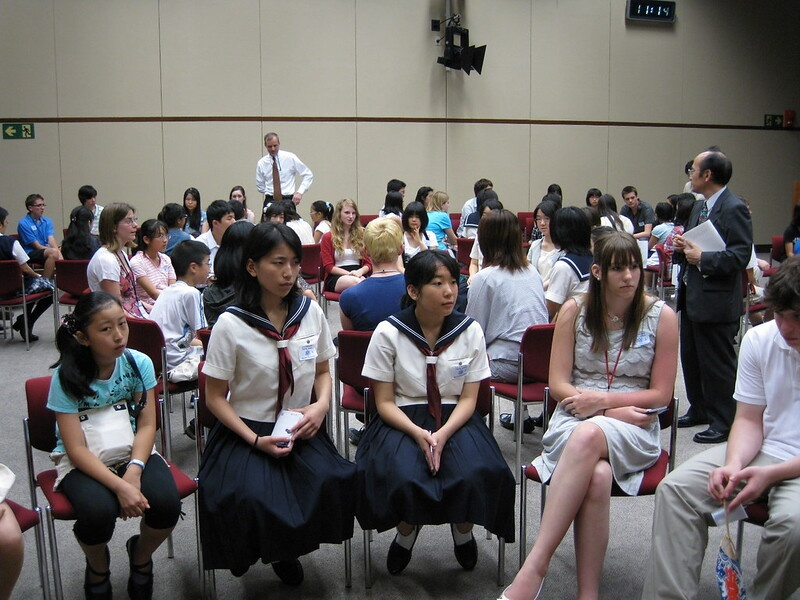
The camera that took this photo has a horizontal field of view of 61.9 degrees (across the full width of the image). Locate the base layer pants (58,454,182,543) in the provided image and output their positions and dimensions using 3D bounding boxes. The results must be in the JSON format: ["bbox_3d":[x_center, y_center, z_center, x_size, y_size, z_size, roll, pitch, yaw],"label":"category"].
[{"bbox_3d":[-1.208,0.873,2.856,0.479,0.309,0.291,-4,8,-31],"label":"base layer pants"}]

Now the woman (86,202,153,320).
[{"bbox_3d":[-2.126,-0.293,5.266,0.565,0.950,0.528,3,12,2],"label":"woman"}]

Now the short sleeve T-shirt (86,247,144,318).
[{"bbox_3d":[-2.190,-0.136,5.239,0.388,0.569,0.441,7,16,-13],"label":"short sleeve T-shirt"}]

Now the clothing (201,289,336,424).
[{"bbox_3d":[-0.605,0.255,3.142,0.587,0.596,0.331,-6,10,-30],"label":"clothing"}]

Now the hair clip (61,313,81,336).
[{"bbox_3d":[-1.425,0.121,2.879,0.071,0.112,0.034,7,-9,-8],"label":"hair clip"}]

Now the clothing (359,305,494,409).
[{"bbox_3d":[0.140,0.290,3.226,0.587,0.542,0.305,0,2,-8],"label":"clothing"}]

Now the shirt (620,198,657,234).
[{"bbox_3d":[3.659,-1.207,10.199,0.423,0.581,0.487,2,9,38],"label":"shirt"}]

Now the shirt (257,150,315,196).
[{"bbox_3d":[-1.812,-1.927,10.088,0.808,0.785,0.399,1,31,3],"label":"shirt"}]

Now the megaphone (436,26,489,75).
[{"bbox_3d":[0.987,-4.162,11.010,0.728,0.798,0.591,4,17,23],"label":"megaphone"}]

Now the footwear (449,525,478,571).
[{"bbox_3d":[0.306,1.185,3.175,0.088,0.261,0.063,-15,-4,17],"label":"footwear"}]

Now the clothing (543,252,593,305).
[{"bbox_3d":[1.150,-0.169,4.405,0.237,0.390,0.481,8,17,43],"label":"clothing"}]

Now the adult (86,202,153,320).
[{"bbox_3d":[-2.134,-0.289,5.253,0.546,0.948,0.513,1,13,-10],"label":"adult"}]

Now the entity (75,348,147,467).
[{"bbox_3d":[-1.265,0.487,2.973,0.213,0.414,0.197,-6,17,-41],"label":"entity"}]

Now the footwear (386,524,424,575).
[{"bbox_3d":[0.027,1.185,3.195,0.096,0.324,0.107,13,1,26],"label":"footwear"}]

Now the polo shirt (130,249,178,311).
[{"bbox_3d":[-1.844,-0.137,4.941,0.243,0.479,0.410,2,3,35],"label":"polo shirt"}]

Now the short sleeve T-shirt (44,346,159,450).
[{"bbox_3d":[-1.318,0.443,2.920,0.370,0.402,0.203,-7,0,-41],"label":"short sleeve T-shirt"}]

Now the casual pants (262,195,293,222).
[{"bbox_3d":[-1.335,-0.985,7.369,0.480,0.352,0.736,-2,6,-15],"label":"casual pants"}]

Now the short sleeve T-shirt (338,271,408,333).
[{"bbox_3d":[-0.183,-0.017,4.118,0.471,0.542,0.281,-1,11,-11],"label":"short sleeve T-shirt"}]

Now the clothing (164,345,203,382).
[{"bbox_3d":[-1.298,0.408,4.049,0.257,0.130,0.268,-10,2,37],"label":"clothing"}]

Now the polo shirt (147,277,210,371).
[{"bbox_3d":[-1.499,0.147,4.372,0.394,0.568,0.264,10,21,4],"label":"polo shirt"}]

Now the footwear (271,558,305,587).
[{"bbox_3d":[-0.529,1.250,3.128,0.080,0.091,0.192,-9,14,-38],"label":"footwear"}]

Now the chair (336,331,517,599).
[{"bbox_3d":[0.135,0.572,3.137,0.715,1.470,0.840,-5,8,-29],"label":"chair"}]

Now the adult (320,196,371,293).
[{"bbox_3d":[-0.499,-0.393,6.530,0.438,1.211,0.648,-1,6,-24],"label":"adult"}]

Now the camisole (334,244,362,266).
[{"bbox_3d":[-0.498,-0.498,6.516,0.259,0.283,0.157,1,8,-7],"label":"camisole"}]

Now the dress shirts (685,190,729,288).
[{"bbox_3d":[1.908,-0.401,4.368,0.344,0.556,0.438,-8,10,5],"label":"dress shirts"}]

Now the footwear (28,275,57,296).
[{"bbox_3d":[-3.630,-0.140,6.738,0.249,0.126,0.214,2,3,-31],"label":"footwear"}]

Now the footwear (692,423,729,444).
[{"bbox_3d":[2.039,0.870,4.404,0.285,0.149,0.139,1,0,12],"label":"footwear"}]

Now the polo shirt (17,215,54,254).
[{"bbox_3d":[-4.702,-0.846,8.617,0.320,0.491,0.409,5,7,36],"label":"polo shirt"}]

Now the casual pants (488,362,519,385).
[{"bbox_3d":[0.636,0.439,3.963,0.107,0.080,0.196,4,-5,-20],"label":"casual pants"}]

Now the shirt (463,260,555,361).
[{"bbox_3d":[0.719,0.050,4.204,0.575,0.661,0.355,-11,17,-17],"label":"shirt"}]

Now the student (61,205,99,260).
[{"bbox_3d":[-3.395,-0.686,7.062,0.355,0.577,0.315,6,24,-15],"label":"student"}]

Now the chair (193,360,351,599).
[{"bbox_3d":[-0.580,0.717,3.059,0.619,1.210,0.681,10,8,42],"label":"chair"}]

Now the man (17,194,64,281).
[{"bbox_3d":[-4.598,-0.693,8.564,0.564,1.283,0.414,4,7,24],"label":"man"}]

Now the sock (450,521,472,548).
[{"bbox_3d":[0.292,1.119,3.162,0.098,0.127,0.109,-3,11,-1],"label":"sock"}]
